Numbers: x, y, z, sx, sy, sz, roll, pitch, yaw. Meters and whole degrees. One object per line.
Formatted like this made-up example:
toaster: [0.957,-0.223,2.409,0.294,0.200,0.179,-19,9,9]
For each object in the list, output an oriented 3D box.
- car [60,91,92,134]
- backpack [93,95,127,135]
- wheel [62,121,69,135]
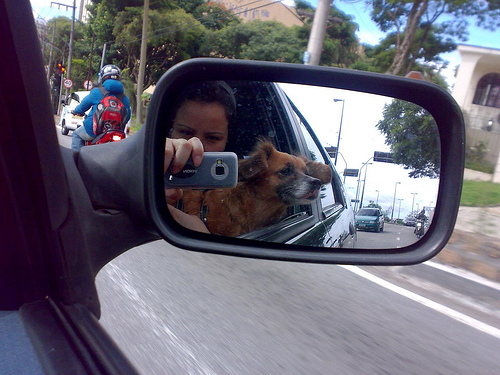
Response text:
car: [-8.027,-3.430,15.966,0.976,1.844,1.092,19,-20,-12]
backpack: [-2.170,-1.095,5.191,0.485,0.708,0.390,6,31,-29]
wheel: [-8.712,-2.826,15.858,0.244,0.630,1.441,2,11,-28]
